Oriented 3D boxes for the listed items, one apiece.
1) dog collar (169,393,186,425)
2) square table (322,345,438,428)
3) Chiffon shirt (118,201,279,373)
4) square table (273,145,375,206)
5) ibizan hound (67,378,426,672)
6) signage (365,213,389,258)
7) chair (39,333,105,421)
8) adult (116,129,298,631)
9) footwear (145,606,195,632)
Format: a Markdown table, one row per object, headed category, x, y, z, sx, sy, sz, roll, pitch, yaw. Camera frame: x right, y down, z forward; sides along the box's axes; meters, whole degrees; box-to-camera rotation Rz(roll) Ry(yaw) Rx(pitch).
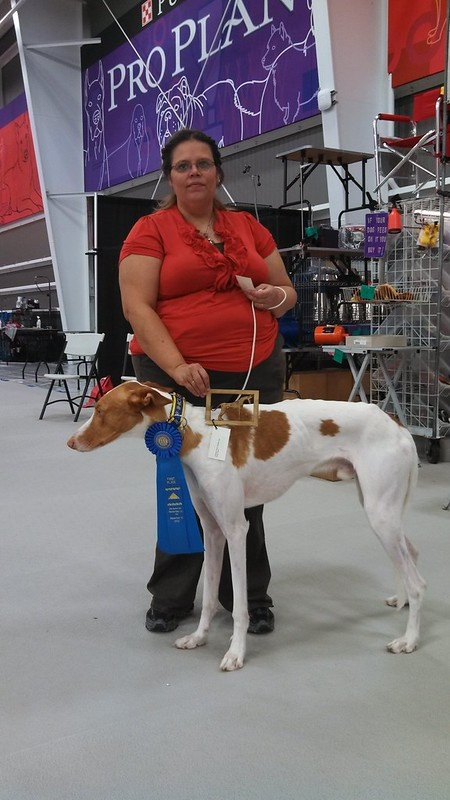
| category | x | y | z | sx | sy | sz | roll | pitch | yaw |
| --- | --- | --- | --- | --- | --- | --- | --- | --- | --- |
| dog collar | -0.119 | 0.020 | 1.361 | 0.022 | 0.066 | 0.046 | -11 | -7 | 40 |
| square table | 1.170 | -0.084 | 4.404 | 0.622 | 0.649 | 0.667 | -1 | 5 | -25 |
| Chiffon shirt | -0.046 | -0.326 | 1.581 | 0.453 | 0.468 | 0.276 | -9 | 6 | -22 |
| square table | 1.079 | -2.386 | 6.141 | 0.953 | 0.525 | 0.555 | -5 | 15 | -20 |
| ibizan hound | 0.077 | 0.304 | 1.467 | 0.925 | 0.762 | 0.287 | -3 | 6 | -6 |
| signage | 1.138 | -1.239 | 4.259 | 0.160 | 0.280 | 0.264 | -1 | 0 | 12 |
| chair | -1.788 | -0.295 | 6.591 | 0.518 | 0.897 | 0.563 | 6 | 8 | 29 |
| adult | -0.014 | -0.053 | 1.572 | 0.450 | 1.396 | 0.444 | -5 | 9 | -14 |
| footwear | -0.183 | 0.676 | 1.770 | 0.057 | 0.058 | 0.124 | 1 | 8 | 17 |
